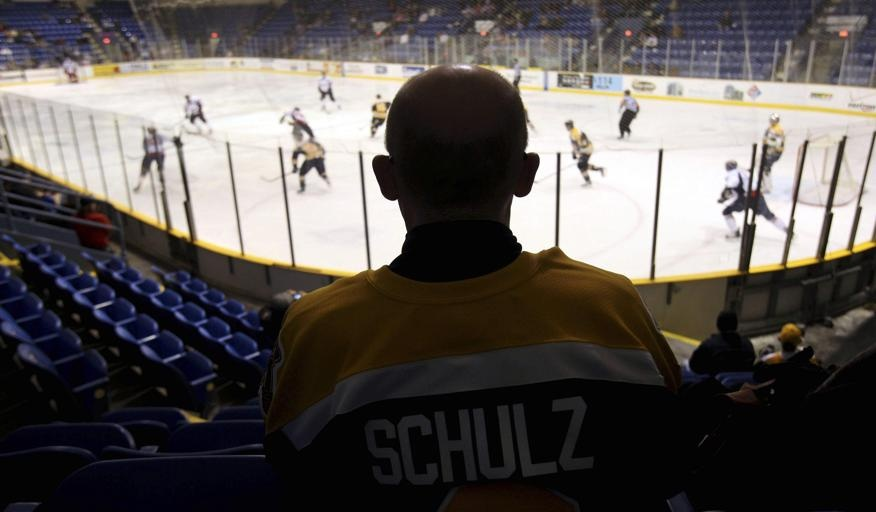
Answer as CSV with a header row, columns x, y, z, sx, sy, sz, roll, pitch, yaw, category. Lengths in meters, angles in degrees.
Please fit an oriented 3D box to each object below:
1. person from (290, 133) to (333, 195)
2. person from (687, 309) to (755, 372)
x,y,z,sx,sy,sz,roll,pitch,yaw,category
-2.479,-1.834,12.953,0.655,1.208,0.456,-18,35,-19,person
3.399,1.068,7.889,0.923,0.784,0.462,-3,8,-14,person
